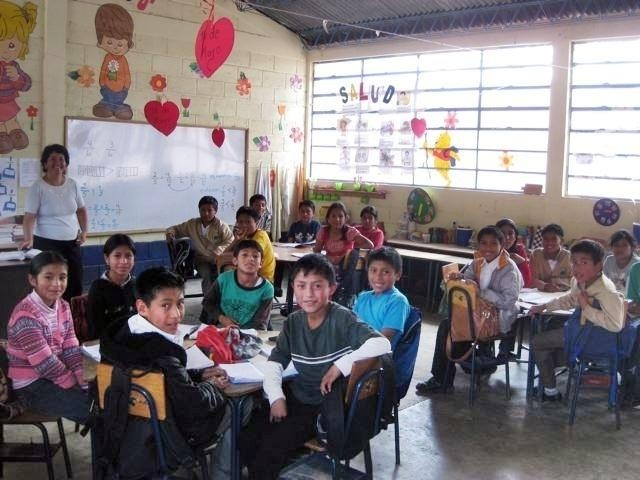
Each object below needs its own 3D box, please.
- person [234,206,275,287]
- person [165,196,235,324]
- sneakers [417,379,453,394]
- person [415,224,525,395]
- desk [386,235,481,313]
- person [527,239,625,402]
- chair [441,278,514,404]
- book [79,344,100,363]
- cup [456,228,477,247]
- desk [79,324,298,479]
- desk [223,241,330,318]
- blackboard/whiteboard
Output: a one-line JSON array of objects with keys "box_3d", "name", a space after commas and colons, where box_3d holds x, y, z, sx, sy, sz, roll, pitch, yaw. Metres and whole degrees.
[{"box_3d": [-0.669, 0.096, 5.330, 0.450, 0.835, 0.362, -11, 16, -25], "name": "person"}, {"box_3d": [-1.328, 0.154, 6.016, 0.771, 1.223, 0.772, 13, 15, 34], "name": "person"}, {"box_3d": [0.927, 1.195, 4.264, 0.250, 0.113, 0.119, 4, 1, -1], "name": "sneakers"}, {"box_3d": [1.221, 0.542, 4.315, 0.822, 1.380, 0.587, -4, 16, -18], "name": "person"}, {"box_3d": [1.202, 0.332, 5.436, 0.266, 0.468, 0.842, -7, 12, -27], "name": "desk"}, {"box_3d": [1.926, 0.634, 3.920, 0.398, 1.287, 0.671, -3, 10, -24], "name": "person"}, {"box_3d": [1.223, 0.767, 4.149, 0.455, 0.924, 0.478, 2, -1, -25], "name": "chair"}, {"box_3d": [-1.255, 0.620, 2.885, 0.079, 0.028, 0.236, -4, 11, -27], "name": "book"}, {"box_3d": [1.877, -0.033, 6.814, 0.233, 0.198, 0.199, 3, -4, -5], "name": "cup"}, {"box_3d": [-0.521, 0.668, 2.881, 0.875, 0.510, 0.842, -5, 12, -45], "name": "desk"}, {"box_3d": [-0.327, 0.256, 5.926, 0.717, 0.695, 1.340, -7, 19, -28], "name": "desk"}, {"box_3d": [-2.292, -0.835, 7.071, 0.049, 1.476, 2.304, -6, 2, 39], "name": "blackboard/whiteboard"}]
